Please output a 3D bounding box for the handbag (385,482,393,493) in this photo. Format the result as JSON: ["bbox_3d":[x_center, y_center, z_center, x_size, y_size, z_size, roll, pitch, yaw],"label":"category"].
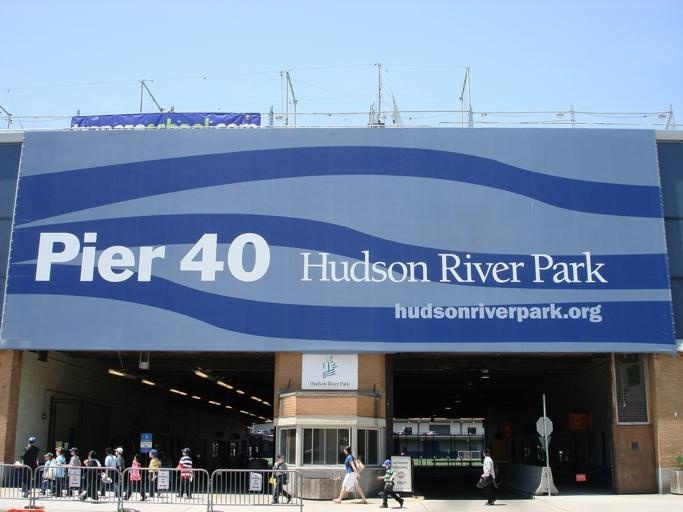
[{"bbox_3d":[2.077,10.059,38.587,0.308,0.413,0.421,0,-43,8],"label":"handbag"}]

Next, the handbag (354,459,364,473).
[{"bbox_3d":[0.787,9.348,39.485,0.359,0.753,0.724,-16,-20,-1],"label":"handbag"}]

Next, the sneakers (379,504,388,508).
[{"bbox_3d":[1.863,10.819,38.416,0.262,0.106,0.148,6,-16,3],"label":"sneakers"}]

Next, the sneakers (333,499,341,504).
[{"bbox_3d":[-0.154,10.874,39.441,0.390,0.287,0.148,6,-18,3],"label":"sneakers"}]

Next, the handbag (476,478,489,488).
[{"bbox_3d":[6.261,9.977,39.128,0.268,0.408,0.577,7,-19,-23],"label":"handbag"}]
